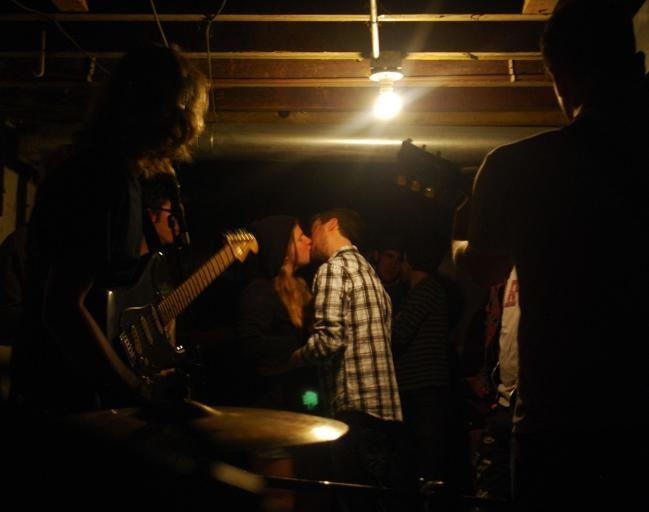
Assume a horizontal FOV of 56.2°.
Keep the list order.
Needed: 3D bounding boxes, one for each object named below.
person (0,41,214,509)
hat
[{"bbox_3d":[-0.733,-0.091,2.143,0.546,1.226,0.430,4,-11,-13],"label":"person"},{"bbox_3d":[-0.383,-0.082,4.299,0.188,0.419,0.316,19,4,29],"label":"hat"}]
